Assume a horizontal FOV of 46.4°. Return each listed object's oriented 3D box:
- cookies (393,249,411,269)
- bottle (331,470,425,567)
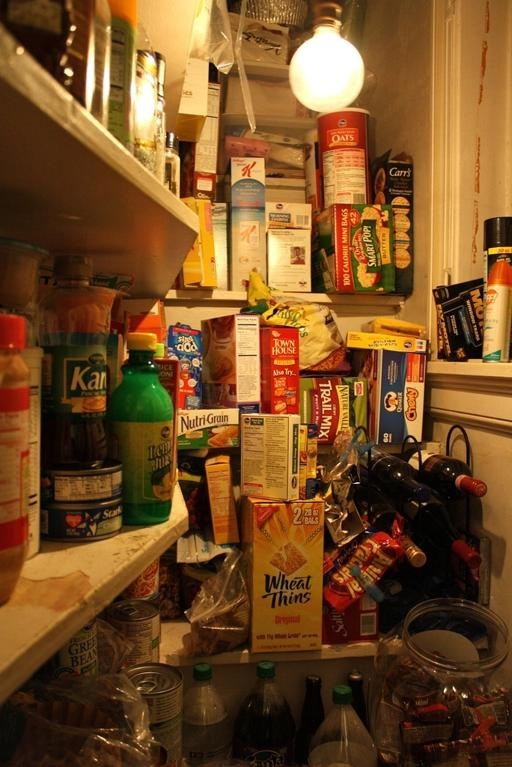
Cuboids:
[{"bbox_3d":[0.464,-0.391,1.878,0.048,0.067,0.015,-6,0,-3],"label":"cookies"},{"bbox_3d":[0.287,0.322,1.409,0.087,0.100,0.368,-20,22,-5],"label":"bottle"}]
